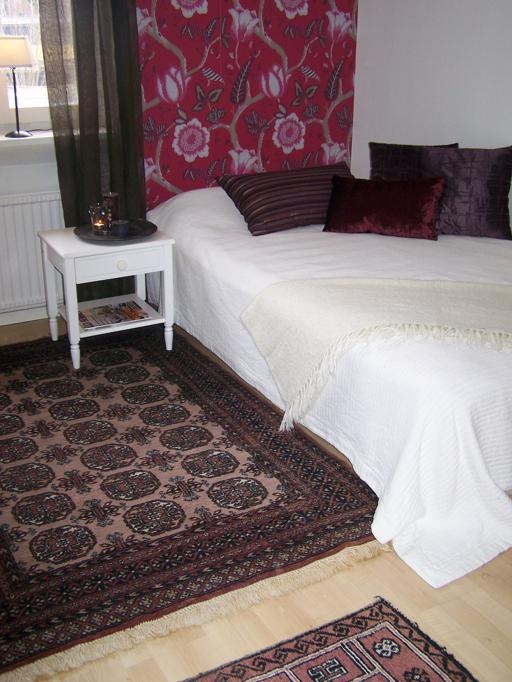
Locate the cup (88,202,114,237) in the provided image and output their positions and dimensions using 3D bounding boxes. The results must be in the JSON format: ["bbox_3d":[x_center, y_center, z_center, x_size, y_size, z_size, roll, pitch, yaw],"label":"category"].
[{"bbox_3d":[-0.637,-0.508,2.254,0.081,0.134,0.052,-1,23,-10],"label":"cup"}]
